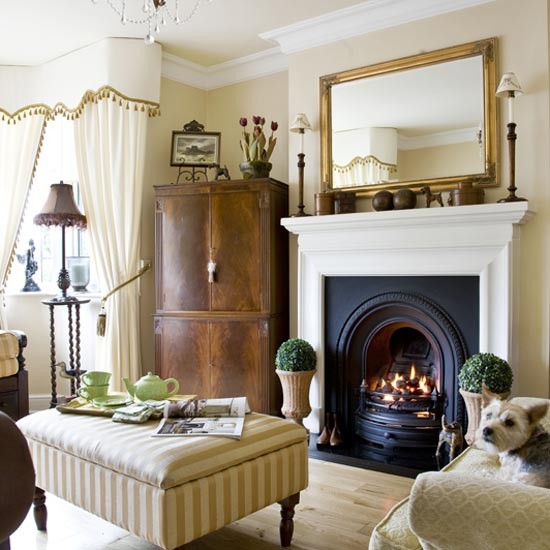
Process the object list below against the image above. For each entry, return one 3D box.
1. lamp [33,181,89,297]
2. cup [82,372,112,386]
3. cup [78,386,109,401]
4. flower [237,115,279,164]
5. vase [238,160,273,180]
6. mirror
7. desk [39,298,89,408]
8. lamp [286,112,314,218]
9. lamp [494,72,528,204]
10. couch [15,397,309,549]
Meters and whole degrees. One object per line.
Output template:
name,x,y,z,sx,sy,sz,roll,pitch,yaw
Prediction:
lamp,-1.611,-0.264,4.014,0.323,0.656,0.335,-1,0,25
cup,-0.899,0.507,2.664,0.125,0.106,0.089,2,-1,-30
cup,-0.878,0.569,2.550,0.098,0.081,0.069,3,-1,-25
flower,-0.124,-1.086,4.124,0.284,0.364,0.650,-1,0,0
vase,-0.149,-0.770,3.880,0.226,0.122,0.231,-1,0,1
mirror,0.914,-1.024,3.414,1.050,0.886,0.041,0,1,34
desk,-1.692,0.606,4.269,0.332,0.665,0.720,-1,0,-23
lamp,0.184,-0.788,3.792,0.147,0.684,0.353,-1,0,4
lamp,1.335,-0.804,3.007,0.141,0.814,0.290,-1,0,26
couch,-0.453,0.798,2.017,1.146,0.368,0.582,-1,0,3
